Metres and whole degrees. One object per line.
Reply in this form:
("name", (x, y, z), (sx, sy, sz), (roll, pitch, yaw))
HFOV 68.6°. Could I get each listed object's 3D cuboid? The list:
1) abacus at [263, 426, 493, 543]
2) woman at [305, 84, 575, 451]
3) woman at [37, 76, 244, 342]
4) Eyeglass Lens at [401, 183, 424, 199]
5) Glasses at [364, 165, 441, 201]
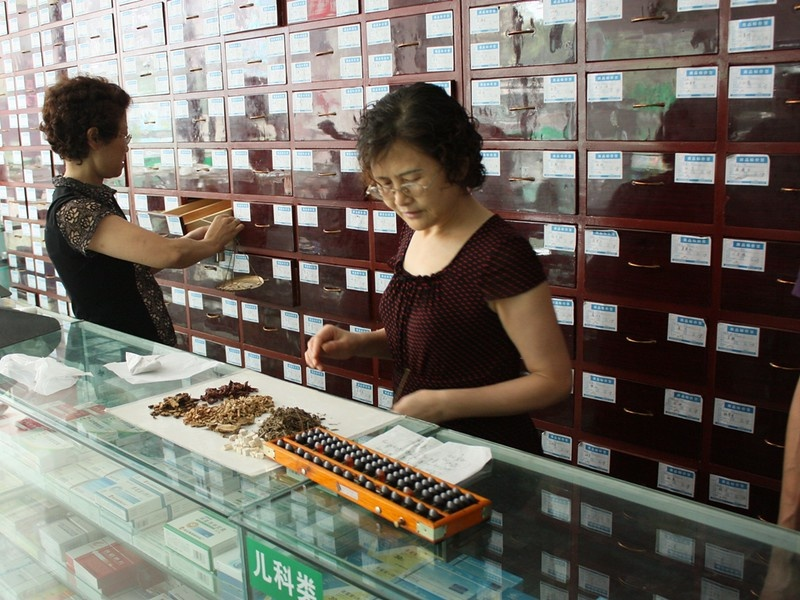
("abacus", (-0.055, 0.303, 1.013), (0.404, 0.060, 0.119), (8, 15, 42))
("woman", (0.137, -0.051, 1.407), (0.425, 0.882, 0.409), (-4, 14, -4))
("woman", (-1.110, -0.330, 2.283), (0.502, 1.065, 0.376), (-6, 15, -12))
("Eyeglass Lens", (0.026, -0.236, 1.277), (0.044, 0.030, 0.027), (8, 17, 41))
("Glasses", (0.001, -0.254, 1.292), (0.140, 0.058, 0.050), (6, 15, 33))
